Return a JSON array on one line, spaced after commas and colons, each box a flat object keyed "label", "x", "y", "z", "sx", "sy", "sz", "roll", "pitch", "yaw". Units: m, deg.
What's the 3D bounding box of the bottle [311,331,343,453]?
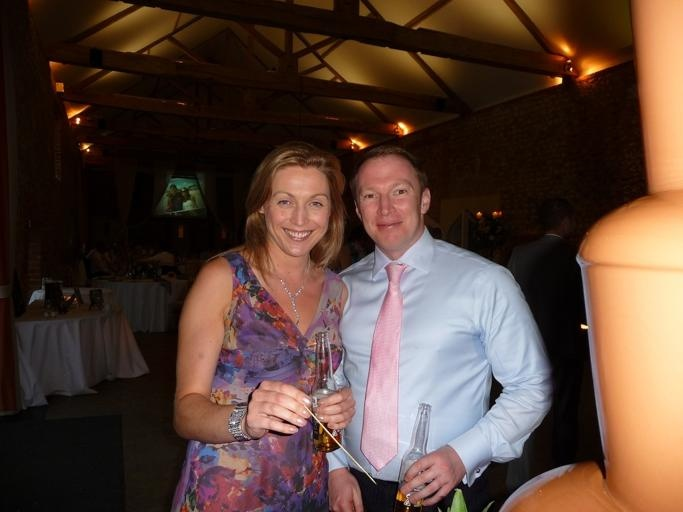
[{"label": "bottle", "x": -0.042, "y": 0.399, "z": 1.511, "sx": 0.081, "sy": 0.383, "sz": 0.264, "roll": 0, "pitch": 1, "yaw": 0}]

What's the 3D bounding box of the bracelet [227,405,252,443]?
[{"label": "bracelet", "x": -0.250, "y": 0.401, "z": 1.300, "sx": 0.051, "sy": 0.086, "sz": 0.076, "roll": 1, "pitch": 2, "yaw": 7}]

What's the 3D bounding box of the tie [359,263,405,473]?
[{"label": "tie", "x": 0.130, "y": 0.378, "z": 1.733, "sx": 0.121, "sy": 0.571, "sz": 0.202, "roll": 1, "pitch": 1, "yaw": 6}]
